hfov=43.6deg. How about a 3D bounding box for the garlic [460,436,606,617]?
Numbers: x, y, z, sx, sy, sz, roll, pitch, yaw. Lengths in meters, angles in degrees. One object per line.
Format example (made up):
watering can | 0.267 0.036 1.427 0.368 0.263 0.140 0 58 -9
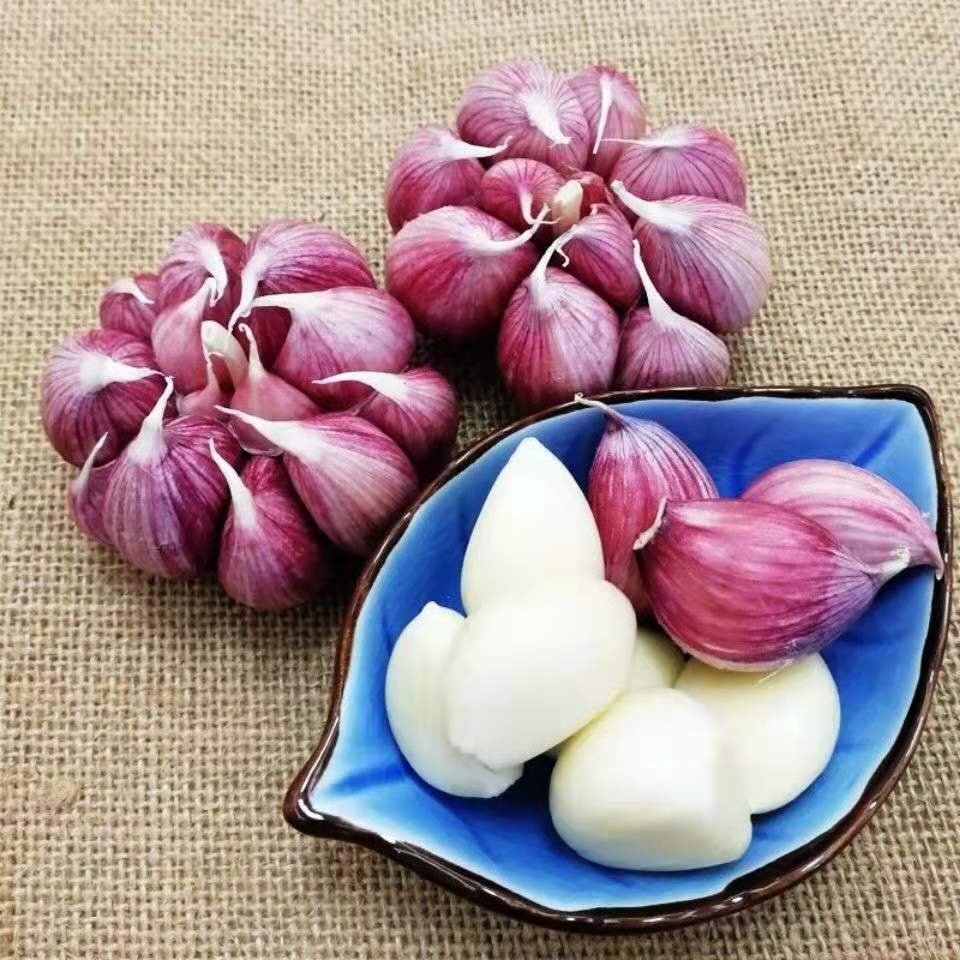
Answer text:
garlic | 0.034 0.034 0.779 0.067 0.045 0.110 -2 80 6

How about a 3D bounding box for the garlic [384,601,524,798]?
garlic | -0.024 0.133 0.716 0.068 0.024 0.120 -7 79 37

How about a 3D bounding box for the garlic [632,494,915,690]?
garlic | 0.187 0.071 0.751 0.166 0.106 0.117 5 49 14

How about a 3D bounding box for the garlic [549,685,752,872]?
garlic | 0.098 0.171 0.684 0.073 0.064 0.122 3 68 9

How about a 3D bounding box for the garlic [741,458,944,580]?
garlic | 0.235 0.019 0.755 0.098 0.033 0.078 36 93 15

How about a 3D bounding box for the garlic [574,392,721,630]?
garlic | 0.115 0.032 0.778 0.077 0.049 0.147 -31 77 8

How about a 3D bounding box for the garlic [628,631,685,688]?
garlic | 0.110 0.114 0.757 0.033 0.022 0.030 -20 47 -16

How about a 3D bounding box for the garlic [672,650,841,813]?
garlic | 0.175 0.152 0.718 0.076 0.046 0.099 -2 79 5
